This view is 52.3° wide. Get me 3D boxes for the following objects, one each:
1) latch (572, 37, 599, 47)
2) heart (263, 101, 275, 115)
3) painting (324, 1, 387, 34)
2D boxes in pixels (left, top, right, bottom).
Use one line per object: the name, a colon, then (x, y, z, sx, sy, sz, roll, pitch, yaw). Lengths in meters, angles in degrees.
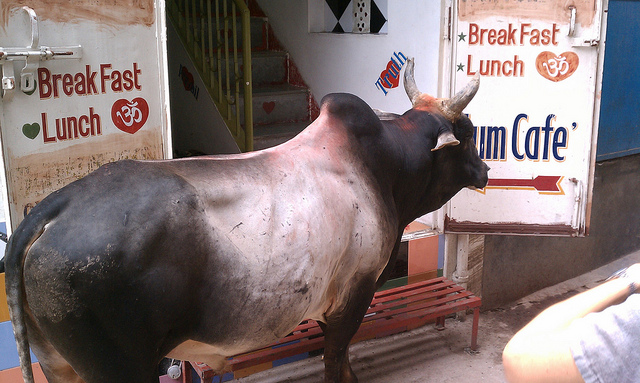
latch: (2.201, -1.245, 5.414, 0.206, 0.075, 0.046, 3, 4, 16)
heart: (-0.605, -0.979, 7.555, 0.116, 0.124, 0.016, -26, 37, -12)
painting: (0.335, -1.846, 6.839, 0.079, 0.477, 1.170, -1, 5, -31)
